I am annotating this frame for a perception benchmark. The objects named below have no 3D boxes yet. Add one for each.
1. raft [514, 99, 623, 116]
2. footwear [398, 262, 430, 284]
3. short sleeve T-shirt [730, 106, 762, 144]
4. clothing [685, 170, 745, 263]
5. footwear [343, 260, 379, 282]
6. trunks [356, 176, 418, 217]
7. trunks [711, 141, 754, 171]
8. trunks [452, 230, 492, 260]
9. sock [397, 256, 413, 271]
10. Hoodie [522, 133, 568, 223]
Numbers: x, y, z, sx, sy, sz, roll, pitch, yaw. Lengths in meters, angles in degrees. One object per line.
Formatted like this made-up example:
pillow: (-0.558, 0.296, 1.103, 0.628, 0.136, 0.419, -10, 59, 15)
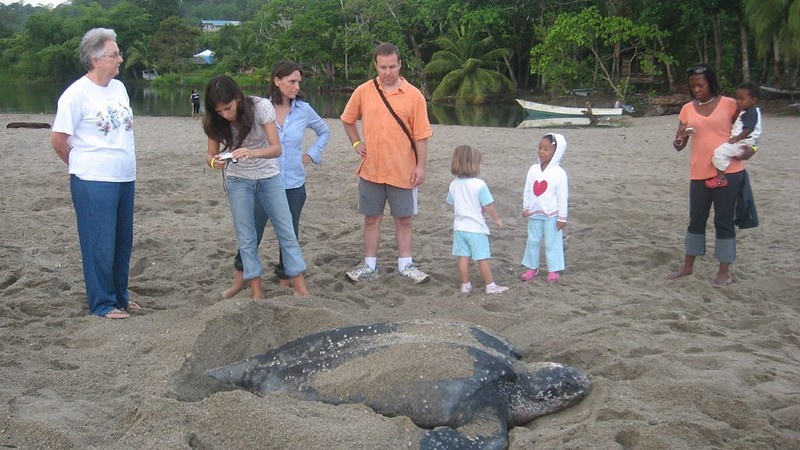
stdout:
raft: (6.845, -4.664, 27.781, 4.307, 0.654, 1.139, 10, 7, 32)
footwear: (0.218, 0.770, 10.696, 0.521, 0.214, 0.215, 20, 43, 17)
short sleeve T-shirt: (5.102, -1.484, 10.073, 0.337, 0.503, 0.525, 17, 17, 41)
clothing: (4.803, -0.241, 10.432, 0.447, 1.752, 0.683, -34, 38, -33)
footwear: (-0.587, 0.716, 10.812, 0.614, 0.265, 0.251, -10, 19, -20)
trunks: (-0.169, -0.425, 10.773, 1.105, 0.877, 0.572, 3, 7, 9)
trunks: (5.001, -0.977, 10.214, 0.329, 0.189, 0.507, -17, -30, 26)
trunks: (1.113, 0.272, 10.516, 0.794, 0.547, 0.427, 2, 6, 28)
sock: (0.078, 0.622, 10.716, 0.194, 0.203, 0.231, -2, 7, 2)
Hoodie: (2.238, -0.705, 10.514, 0.644, 1.349, 0.426, 0, 13, 11)
